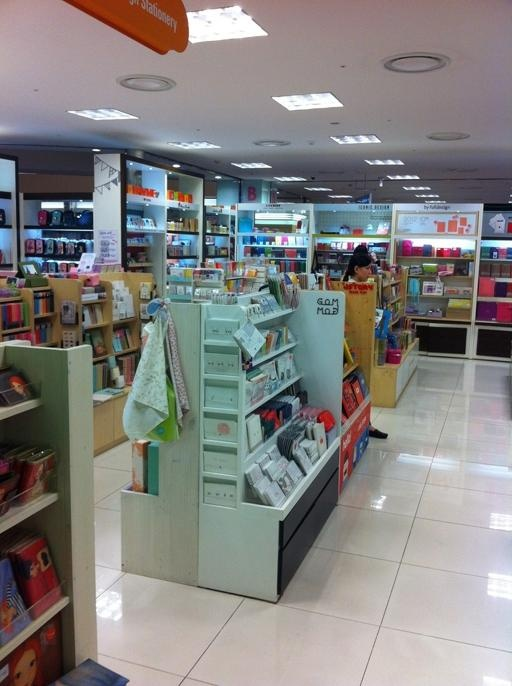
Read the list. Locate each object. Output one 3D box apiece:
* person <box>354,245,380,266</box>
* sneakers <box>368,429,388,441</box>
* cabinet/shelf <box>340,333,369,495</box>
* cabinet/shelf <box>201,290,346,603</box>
[{"bbox_3d":[1.973,-1.541,8.371,0.568,0.287,1.179,3,10,6],"label":"person"},{"bbox_3d":[1.507,1.134,5.934,0.266,0.113,0.100,8,12,30],"label":"sneakers"},{"bbox_3d":[0.985,0.757,4.757,0.401,1.212,1.212,1,14,12],"label":"cabinet/shelf"},{"bbox_3d":[0.102,0.689,3.124,0.558,1.752,1.665,1,8,15],"label":"cabinet/shelf"}]
